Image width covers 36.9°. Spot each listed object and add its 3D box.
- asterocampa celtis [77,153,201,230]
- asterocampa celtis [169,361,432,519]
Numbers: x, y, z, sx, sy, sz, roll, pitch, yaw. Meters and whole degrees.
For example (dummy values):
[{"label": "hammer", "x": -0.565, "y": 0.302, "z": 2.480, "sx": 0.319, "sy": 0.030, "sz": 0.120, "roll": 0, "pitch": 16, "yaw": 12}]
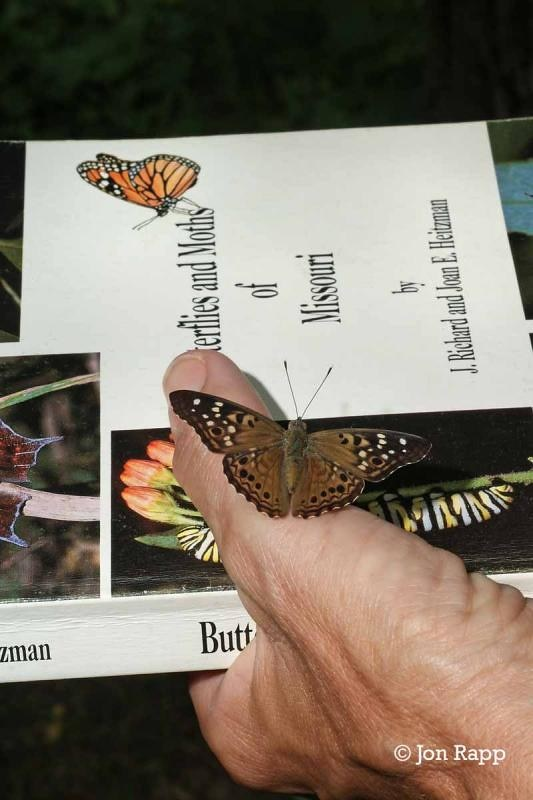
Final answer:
[{"label": "asterocampa celtis", "x": -0.154, "y": -0.245, "z": 0.984, "sx": 0.125, "sy": 0.052, "sz": 0.099, "roll": -5, "pitch": 65, "yaw": 1}, {"label": "asterocampa celtis", "x": 0.026, "y": 0.038, "z": 0.696, "sx": 0.235, "sy": 0.022, "sz": 0.127, "roll": 11, "pitch": 105, "yaw": 12}]
